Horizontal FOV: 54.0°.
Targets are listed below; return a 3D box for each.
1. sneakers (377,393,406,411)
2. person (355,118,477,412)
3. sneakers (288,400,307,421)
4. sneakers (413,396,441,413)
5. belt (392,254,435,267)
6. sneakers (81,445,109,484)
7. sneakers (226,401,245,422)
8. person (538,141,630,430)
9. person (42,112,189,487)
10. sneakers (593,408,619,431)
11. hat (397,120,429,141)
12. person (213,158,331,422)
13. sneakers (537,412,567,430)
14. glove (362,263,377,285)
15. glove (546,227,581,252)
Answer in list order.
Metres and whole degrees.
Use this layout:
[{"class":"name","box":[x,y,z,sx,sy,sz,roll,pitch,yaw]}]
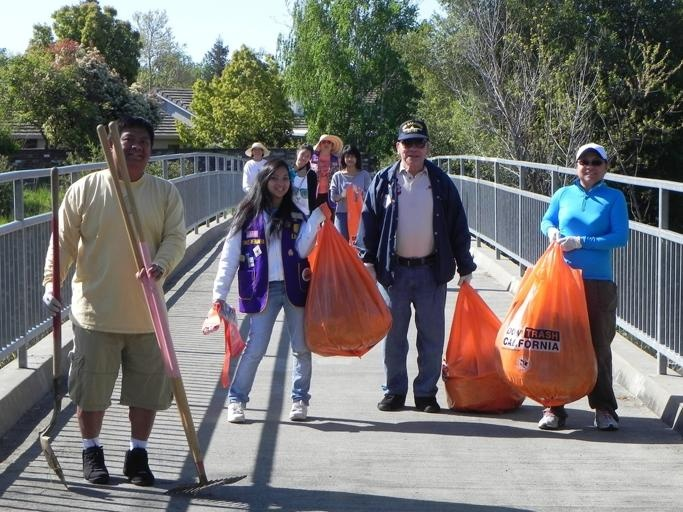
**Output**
[{"class":"sneakers","box":[0.394,1.155,5.317,0.095,0.127,0.249,10,-3,42]},{"class":"person","box":[0.587,0.059,5.366,0.921,2.276,0.425,2,7,13]},{"class":"sneakers","box":[-0.333,1.156,5.056,0.138,0.145,0.129,0,8,-4]},{"class":"sneakers","box":[0.673,1.166,5.290,0.082,0.089,0.194,1,-15,-14]},{"class":"belt","box":[0.579,0.037,5.316,0.297,0.098,0.039,1,7,1]},{"class":"sneakers","box":[-1.454,1.233,3.944,0.090,0.134,0.283,0,0,-21]},{"class":"sneakers","box":[-0.797,1.157,5.005,0.129,0.124,0.182,-1,8,-13]},{"class":"person","box":[1.793,0.205,4.961,0.585,2.061,0.645,3,7,24]},{"class":"person","box":[-1.354,0.256,3.960,0.773,2.149,0.501,0,7,-4]},{"class":"sneakers","box":[1.915,1.179,4.850,0.078,0.114,0.246,-1,-7,-3]},{"class":"hat","box":[0.572,-1.011,5.359,0.226,0.168,0.318,2,8,7]},{"class":"person","box":[-0.544,0.249,5.043,0.795,1.933,0.502,0,7,-4]},{"class":"sneakers","box":[1.524,1.187,4.867,0.253,0.135,0.096,7,-7,-36]},{"class":"glove","box":[0.227,0.135,5.324,0.056,0.143,0.121,-29,-26,38]},{"class":"glove","box":[1.624,-0.116,4.917,0.175,0.077,0.136,29,-4,43]}]
